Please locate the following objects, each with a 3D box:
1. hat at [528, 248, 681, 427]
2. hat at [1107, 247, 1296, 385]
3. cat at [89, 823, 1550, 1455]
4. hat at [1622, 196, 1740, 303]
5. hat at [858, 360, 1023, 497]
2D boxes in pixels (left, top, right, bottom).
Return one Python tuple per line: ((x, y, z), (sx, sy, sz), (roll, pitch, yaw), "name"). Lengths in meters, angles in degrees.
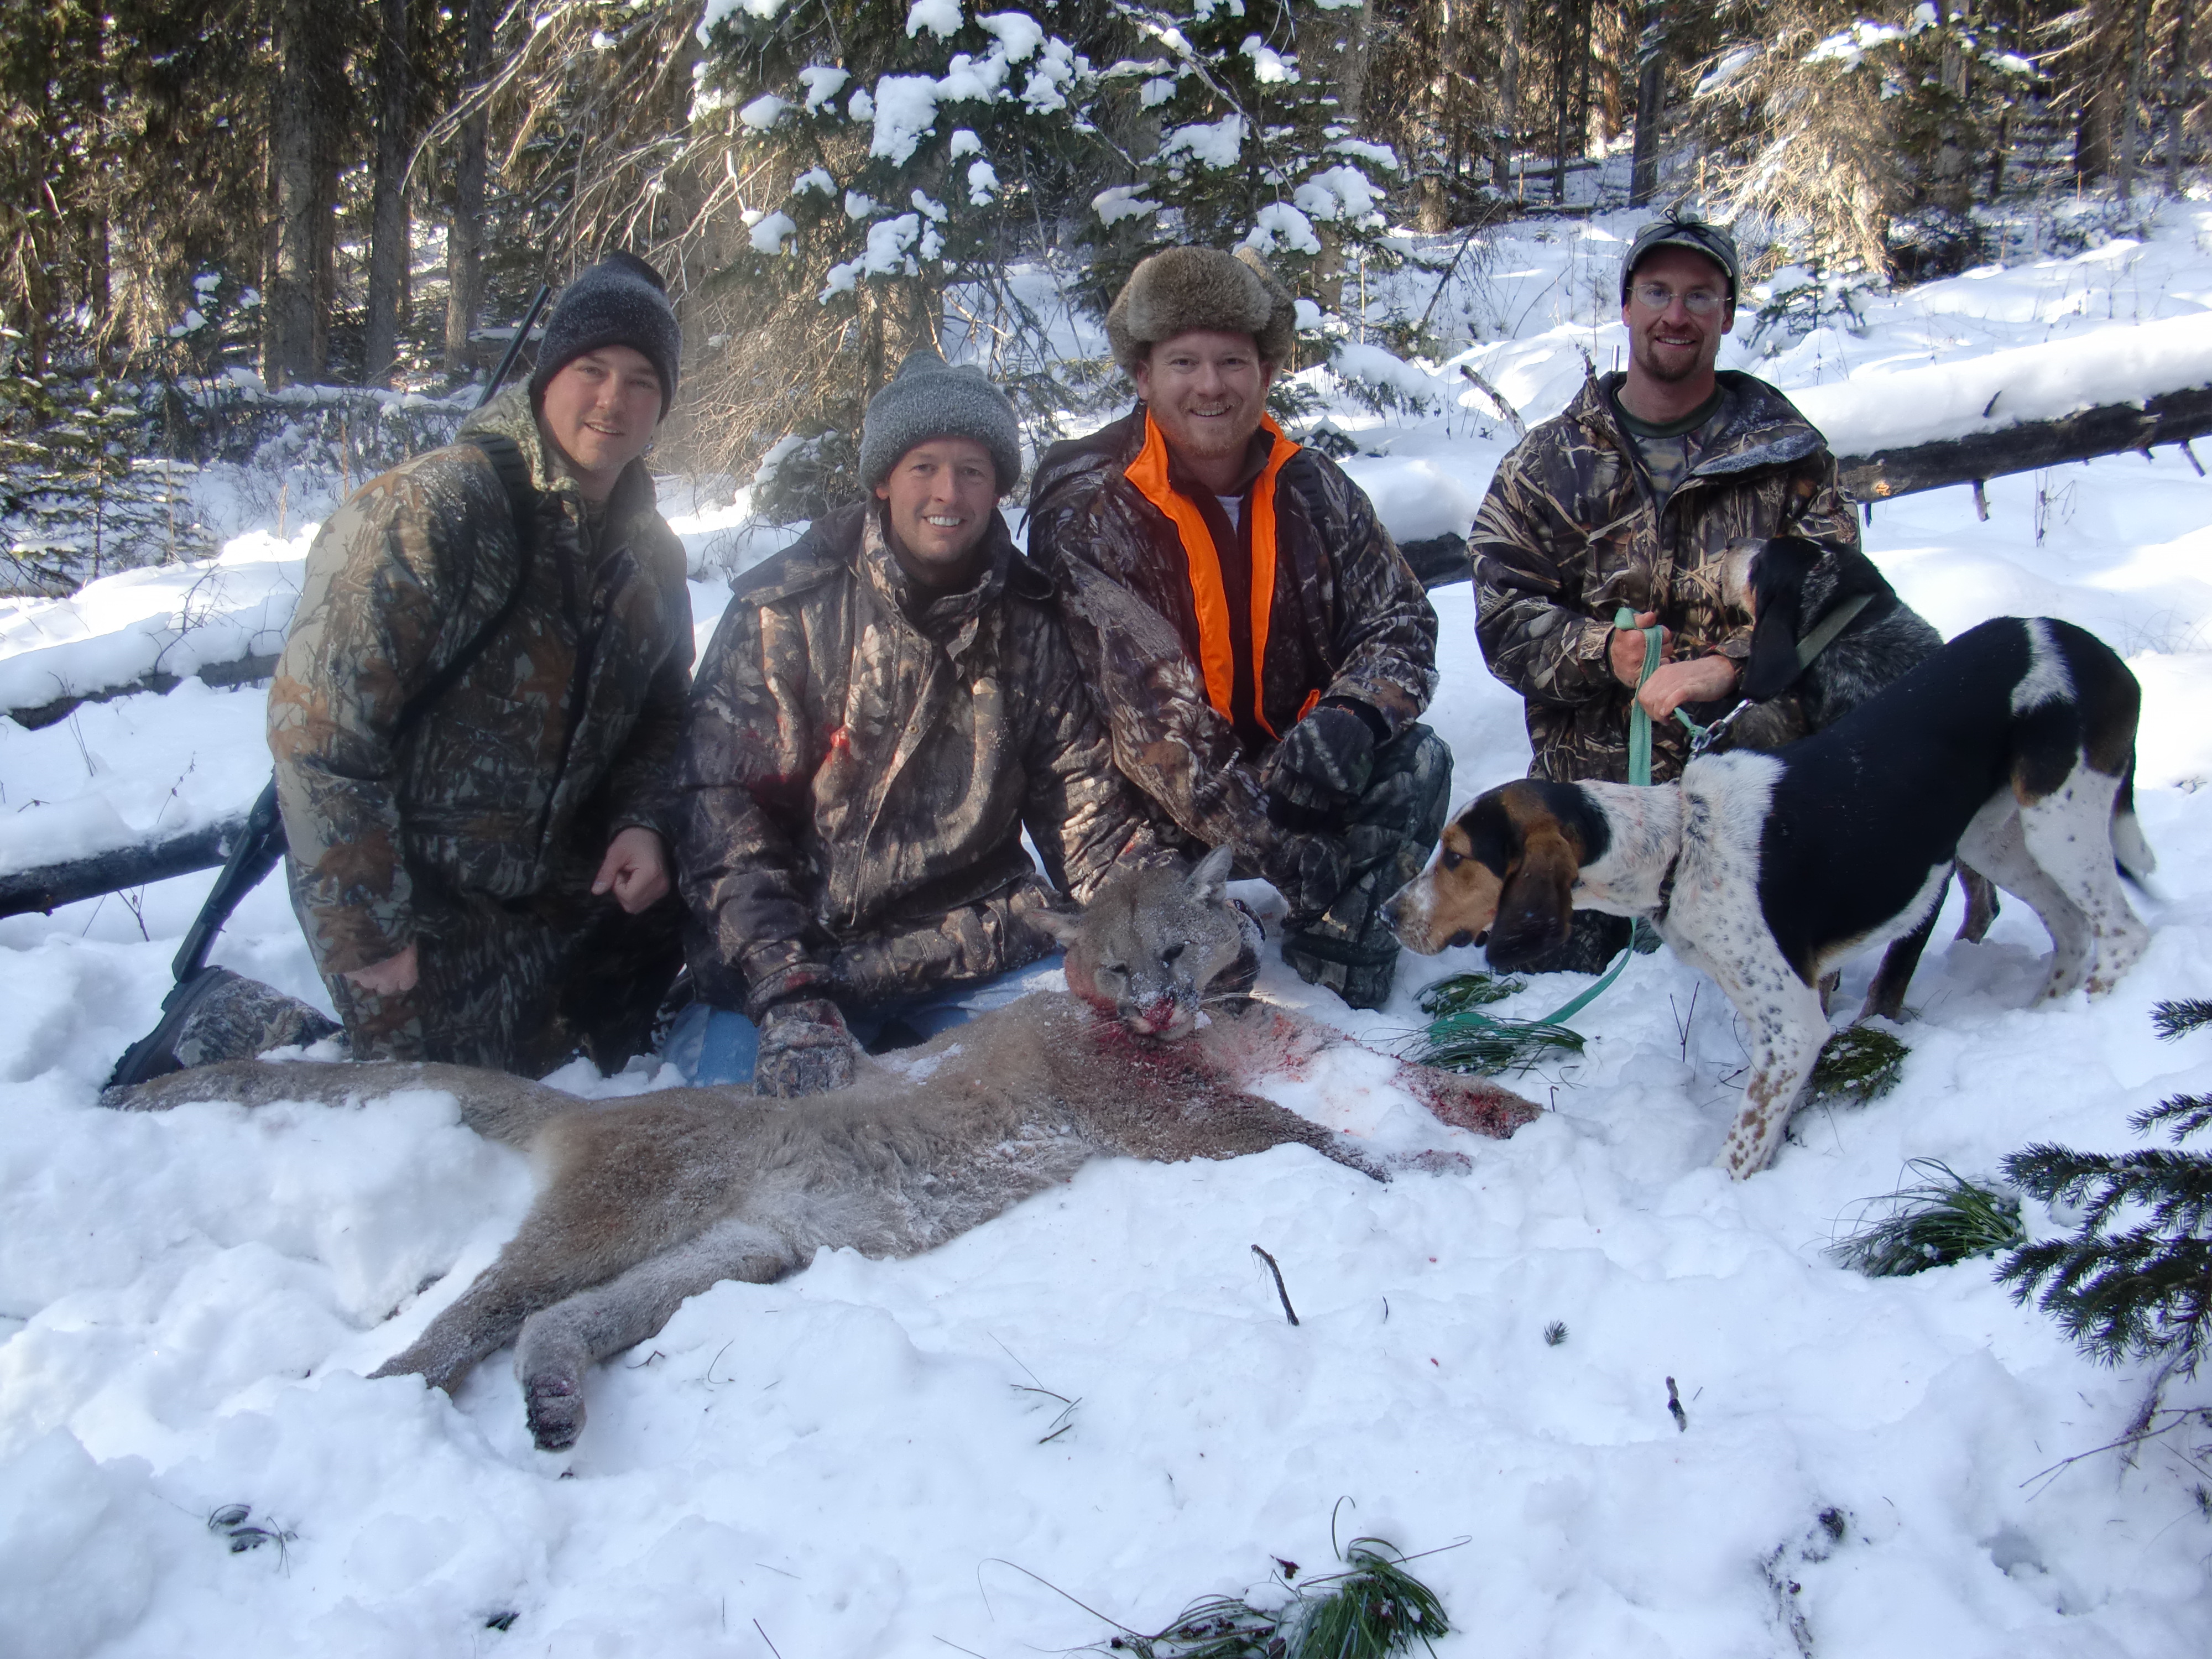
((-1.565, -1.513, 6.243), (0.380, 0.523, 0.524), (14, -18, -28), "hat")
((0.342, -1.868, 6.660), (0.632, 0.377, 0.562), (8, 9, -19), "hat")
((-0.754, 0.838, 5.248), (2.171, 0.711, 0.766), (-13, 24, -13), "cat")
((1.995, -2.002, 6.737), (0.374, 0.316, 0.562), (1, 15, 16), "hat")
((-0.528, -1.267, 6.078), (0.495, 0.418, 0.306), (-5, 14, -8), "hat")
